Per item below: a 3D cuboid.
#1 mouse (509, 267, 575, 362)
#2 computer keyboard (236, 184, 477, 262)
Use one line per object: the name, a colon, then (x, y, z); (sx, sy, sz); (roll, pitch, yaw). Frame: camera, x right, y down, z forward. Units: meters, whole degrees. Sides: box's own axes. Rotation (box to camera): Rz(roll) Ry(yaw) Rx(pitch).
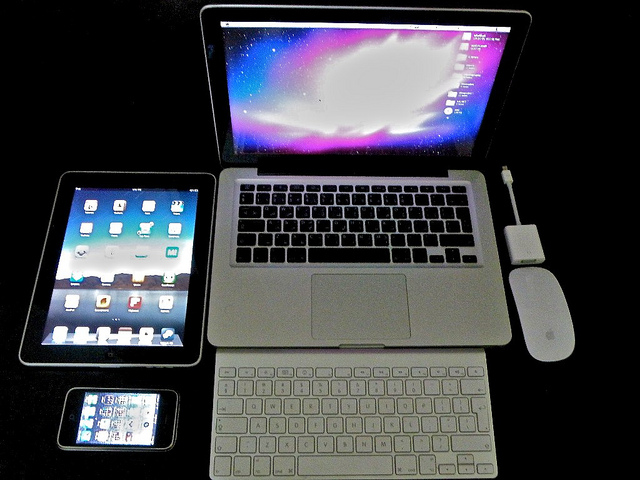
mouse: (0.427, 0.133, 1.084); (0.102, 0.039, 0.190); (-7, 61, -2)
computer keyboard: (0.070, -0.035, 1.121); (0.467, 0.116, 0.143); (-3, 36, 0)
